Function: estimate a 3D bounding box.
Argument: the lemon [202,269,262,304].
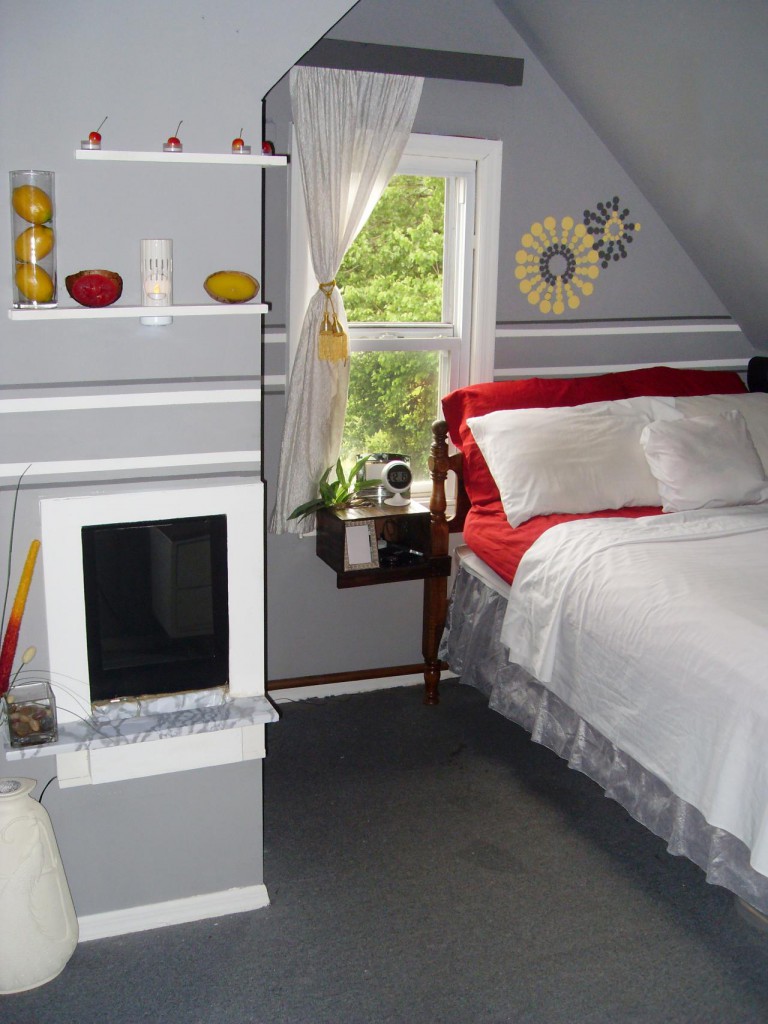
[{"bbox_3d":[-0.300,-0.444,1.603,0.088,0.068,0.054,7,9,-12],"label":"lemon"}]

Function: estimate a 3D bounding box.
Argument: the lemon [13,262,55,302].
[{"bbox_3d":[-0.619,-0.406,1.446,0.050,0.071,0.054,-13,15,2],"label":"lemon"}]

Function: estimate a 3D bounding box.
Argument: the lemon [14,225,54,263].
[{"bbox_3d":[-0.611,-0.472,1.432,0.050,0.054,0.068,-2,-3,-39],"label":"lemon"}]

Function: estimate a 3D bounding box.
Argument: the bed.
[{"bbox_3d":[0.805,0.233,2.676,1.137,1.011,1.340,-7,15,-18],"label":"bed"}]

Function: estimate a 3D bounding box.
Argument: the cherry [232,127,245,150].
[{"bbox_3d":[-0.285,-0.731,1.595,0.027,0.055,0.055,0,11,-9],"label":"cherry"}]

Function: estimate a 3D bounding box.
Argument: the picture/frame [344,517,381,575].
[{"bbox_3d":[-0.083,0.120,2.831,0.146,0.169,0.039,-6,6,-29],"label":"picture/frame"}]
